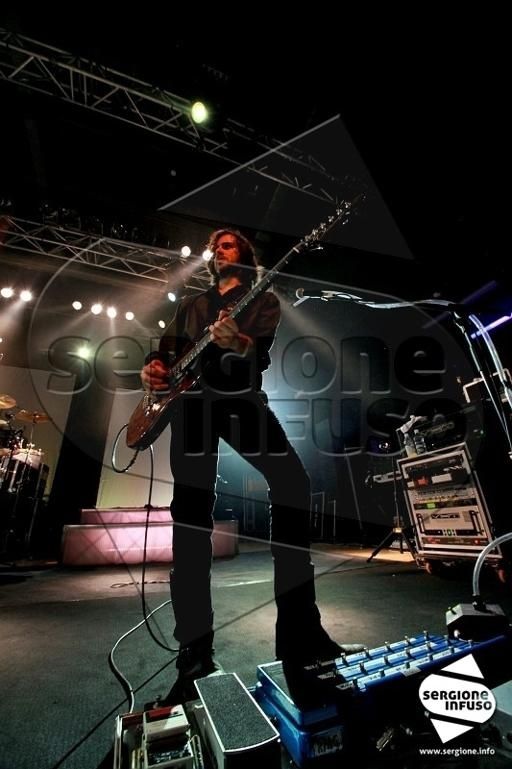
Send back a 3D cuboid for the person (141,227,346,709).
[{"bbox_3d":[-0.149,0.218,2.188,0.911,2.092,0.482,-14,-18,43],"label":"person"}]
